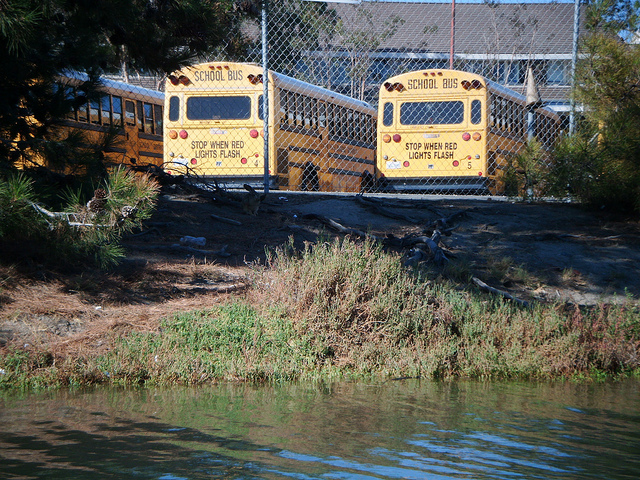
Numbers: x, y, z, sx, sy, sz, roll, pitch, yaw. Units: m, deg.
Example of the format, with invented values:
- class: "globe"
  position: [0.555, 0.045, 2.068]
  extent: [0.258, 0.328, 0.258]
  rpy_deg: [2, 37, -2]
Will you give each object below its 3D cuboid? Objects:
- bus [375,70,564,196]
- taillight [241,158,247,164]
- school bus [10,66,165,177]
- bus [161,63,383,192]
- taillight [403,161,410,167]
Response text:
- class: "bus"
  position: [5.387, -2.935, 23.222]
  extent: [3.144, 3.149, 9.486]
  rpy_deg: [4, 8, 36]
- class: "taillight"
  position: [-1.640, -1.737, 17.990]
  extent: [0.120, 0.124, 0.022]
  rpy_deg: [1, -3, 5]
- class: "school bus"
  position: [-4.727, -2.599, 17.414]
  extent: [1.951, 2.061, 4.668]
  rpy_deg: [1, -3, 39]
- class: "bus"
  position: [-0.892, -2.467, 21.657]
  extent: [2.787, 2.764, 8.423]
  rpy_deg: [3, 3, 18]
- class: "taillight"
  position: [2.017, -1.799, 19.391]
  extent: [0.159, 0.140, 0.035]
  rpy_deg: [-3, 1, 2]
